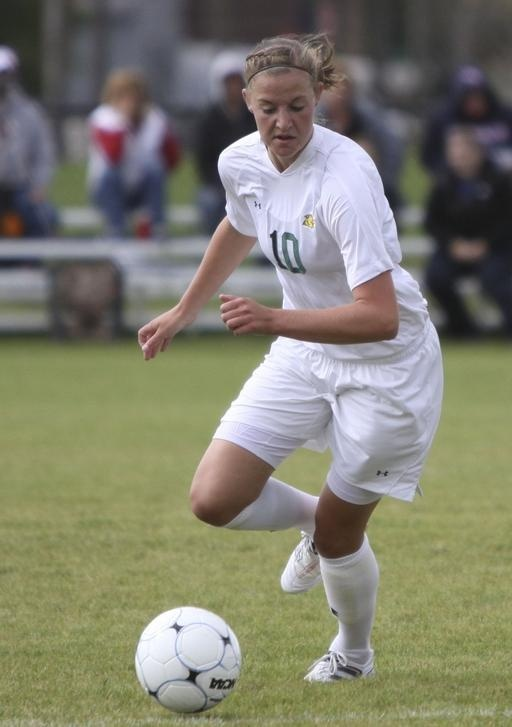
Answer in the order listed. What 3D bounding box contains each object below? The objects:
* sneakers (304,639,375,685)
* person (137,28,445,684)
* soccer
[{"bbox_3d":[0.222,0.771,2.911,0.198,0.066,0.066,-6,-1,-16],"label":"sneakers"},{"bbox_3d":[0.106,-0.048,2.952,0.650,1.666,0.805,-4,11,-29],"label":"person"},{"bbox_3d":[-0.160,0.718,2.741,0.253,0.217,0.219,9,57,-8],"label":"soccer"}]
